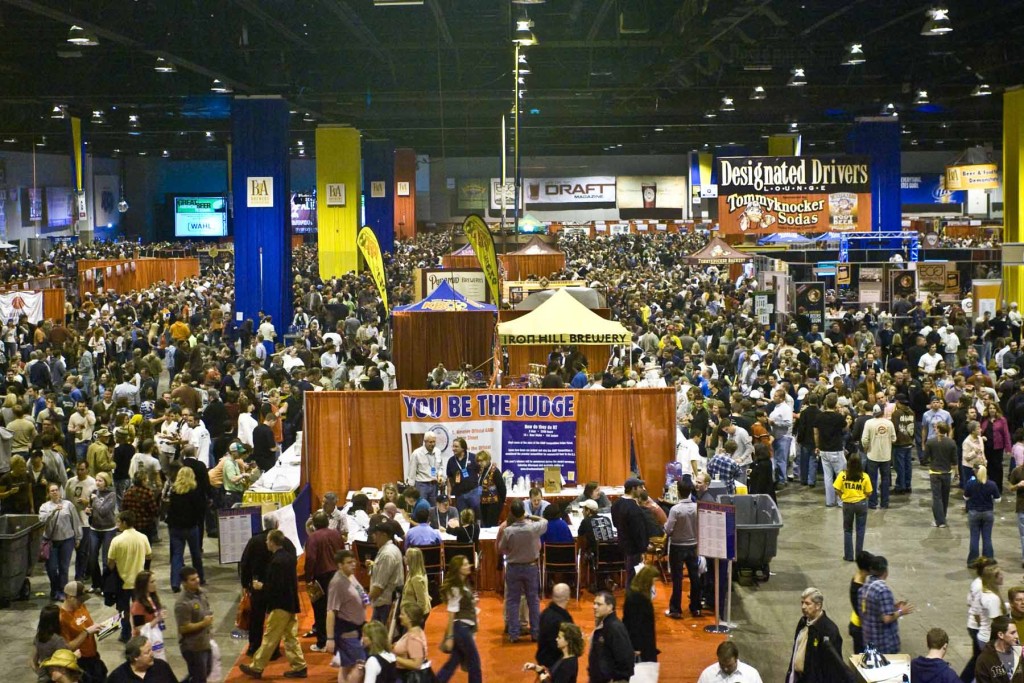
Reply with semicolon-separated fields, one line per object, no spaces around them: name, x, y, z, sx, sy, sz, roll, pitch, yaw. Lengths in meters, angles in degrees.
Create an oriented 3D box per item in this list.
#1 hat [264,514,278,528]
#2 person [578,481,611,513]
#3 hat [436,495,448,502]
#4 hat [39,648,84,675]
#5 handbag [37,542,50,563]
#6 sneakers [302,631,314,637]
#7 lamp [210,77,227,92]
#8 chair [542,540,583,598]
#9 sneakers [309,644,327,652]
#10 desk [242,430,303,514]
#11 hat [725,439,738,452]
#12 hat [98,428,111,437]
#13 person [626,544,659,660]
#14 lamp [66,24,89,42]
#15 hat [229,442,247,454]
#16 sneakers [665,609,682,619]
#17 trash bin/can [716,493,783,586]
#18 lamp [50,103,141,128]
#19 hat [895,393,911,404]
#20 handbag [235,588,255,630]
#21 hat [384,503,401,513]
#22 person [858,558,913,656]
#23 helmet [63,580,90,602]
hat;-3.495;2.639;15.207;0.154;0.187;0.178;4;11;-2
person;1.389;2.616;17.341;0.406;0.925;0.353;-7;15;8
hat;-1.117;2.584;17.143;0.199;0.108;0.238;-1;4;-4
hat;-5.561;3.926;12.918;0.371;0.175;0.377;8;-11;-25
handbag;-7.679;3.457;17.117;0.182;0.410;0.367;3;-3;-15
sneakers;-3.137;4.546;16.149;0.214;0.093;0.083;-2;-8;19
lamp;-9.952;-8.837;35.558;0.388;0.475;0.425;-22;7;-36
chair;0.801;3.604;16.585;0.679;1.119;0.709;-2;9;-9
sneakers;-2.927;4.661;15.805;0.242;0.127;0.103;5;-4;7
desk;-4.160;2.291;18.575;0.870;0.985;1.375;0;4;9
hat;3.825;1.816;18.160;0.162;0.228;0.215;9;13;28
hat;-7.304;1.669;18.676;0.147;0.218;0.264;-1;4;-9
person;1.755;3.712;14.201;0.466;1.366;0.547;0;4;11
lamp;-10.603;-7.579;25.544;0.425;0.518;0.925;-3;5;-33
hat;-4.915;1.929;18.704;0.175;0.175;0.257;-1;-5;-13
sneakers;2.583;4.340;16.537;0.266;0.115;0.099;3;3;41
trash bin/can;4.114;3.251;17.612;1.035;0.703;1.638;-1;28;8
lamp;-17.028;-9.382;42.796;4.374;0.876;0.981;-2;23;-18
hat;7.964;1.164;21.187;0.285;0.304;0.439;2;-3;6
handbag;-3.891;3.940;15.275;0.293;0.603;0.132;1;4;21
hat;-1.873;2.625;16.259;0.181;0.202;0.289;-1;4;-11
person;5.070;3.617;14.161;0.635;1.310;0.583;-1;4;-3
helmet;-5.892;3.399;14.075;0.216;0.261;0.189;0;4;4
